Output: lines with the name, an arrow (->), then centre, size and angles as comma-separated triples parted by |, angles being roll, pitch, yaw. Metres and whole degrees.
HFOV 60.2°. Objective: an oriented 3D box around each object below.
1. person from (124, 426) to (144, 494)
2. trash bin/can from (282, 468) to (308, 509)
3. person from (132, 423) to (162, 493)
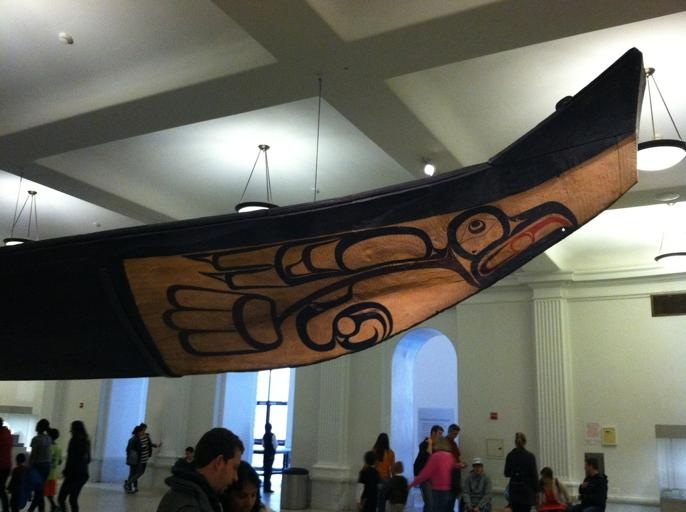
person -> -4.374, 4.242, 12.420 | 0.343, 1.337, 0.736 | 8, -16, -19
trash bin/can -> -0.869, 4.385, 11.160 | 0.576, 0.723, 0.515 | 6, -16, -14
person -> -4.174, 4.289, 12.395 | 0.607, 1.558, 0.491 | 5, 16, -21
